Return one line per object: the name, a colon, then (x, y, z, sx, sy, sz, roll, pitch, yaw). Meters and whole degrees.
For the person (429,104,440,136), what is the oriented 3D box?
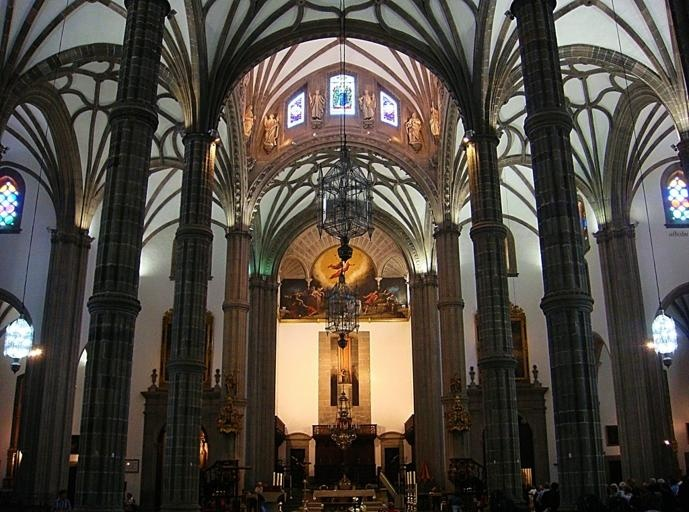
person: (3.700, -5.488, 24.974, 0.280, 1.219, 0.644, 0, -19, -5)
